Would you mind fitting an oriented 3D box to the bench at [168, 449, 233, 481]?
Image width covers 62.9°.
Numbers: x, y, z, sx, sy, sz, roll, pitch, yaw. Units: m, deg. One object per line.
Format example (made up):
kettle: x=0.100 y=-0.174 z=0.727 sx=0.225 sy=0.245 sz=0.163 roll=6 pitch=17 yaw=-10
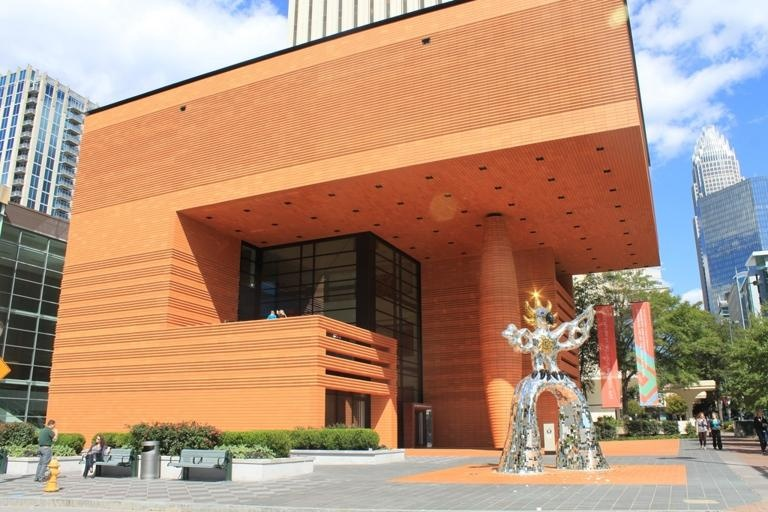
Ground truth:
bench: x=-7.365 y=8.460 z=25.357 sx=2.356 sy=1.222 sz=0.815 roll=-8 pitch=-24 yaw=18
